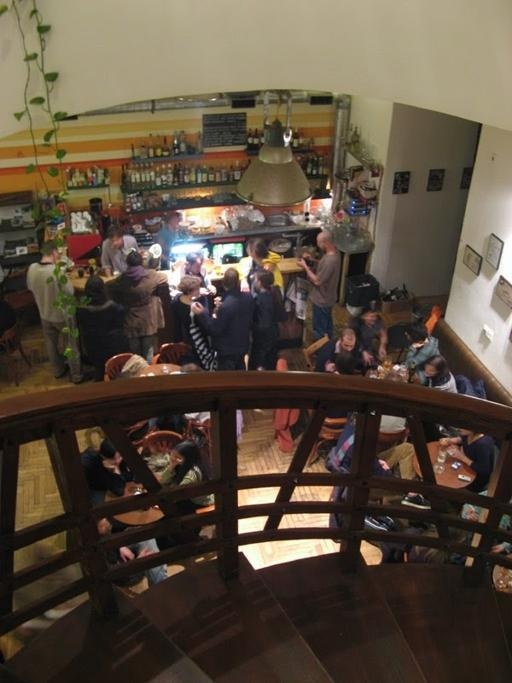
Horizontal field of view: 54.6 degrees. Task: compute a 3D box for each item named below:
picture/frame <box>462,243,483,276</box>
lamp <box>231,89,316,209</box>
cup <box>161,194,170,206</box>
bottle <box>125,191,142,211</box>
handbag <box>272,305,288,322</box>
[{"bbox_3d":[2.807,-1.069,6.425,0.061,0.422,0.301,-21,46,-5],"label":"picture/frame"},{"bbox_3d":[0.142,-1.477,3.947,0.603,0.843,0.481,-1,26,-1],"label":"lamp"},{"bbox_3d":[-1.539,-2.418,8.459,0.153,0.187,0.072,2,15,4],"label":"cup"},{"bbox_3d":[-2.065,-2.350,8.324,0.282,0.357,0.198,5,40,-4],"label":"bottle"},{"bbox_3d":[0.295,-0.349,5.887,0.165,0.258,0.279,5,40,9],"label":"handbag"}]
